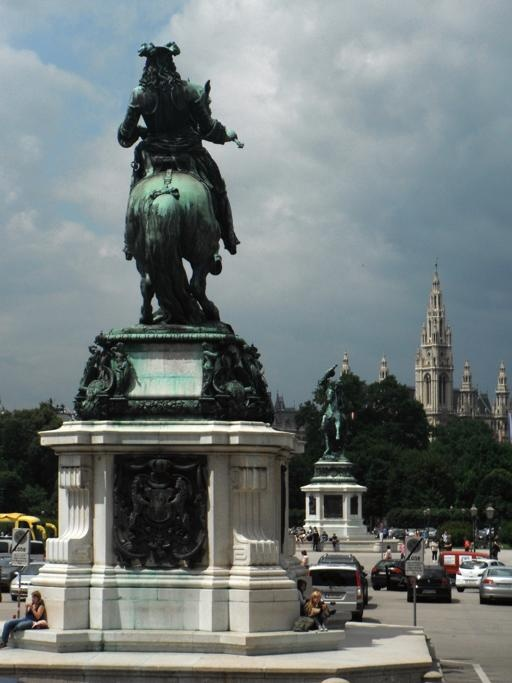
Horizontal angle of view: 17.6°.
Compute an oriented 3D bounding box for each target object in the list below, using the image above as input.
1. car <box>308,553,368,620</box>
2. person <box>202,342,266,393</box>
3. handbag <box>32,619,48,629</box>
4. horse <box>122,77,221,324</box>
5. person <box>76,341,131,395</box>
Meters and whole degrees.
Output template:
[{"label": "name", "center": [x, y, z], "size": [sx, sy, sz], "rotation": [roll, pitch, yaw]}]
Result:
[{"label": "car", "center": [1.831, 5.216, 36.774], "size": [1.172, 1.273, 2.638], "rotation": [0, 6, 2]}, {"label": "person", "center": [-0.435, 0.425, 27.717], "size": [0.182, 0.738, 0.715], "rotation": [-15, -13, 34]}, {"label": "handbag", "center": [-3.423, 4.451, 26.520], "size": [0.157, 0.099, 0.135], "rotation": [-2, -5, 12]}, {"label": "horse", "center": [-1.448, -1.826, 29.368], "size": [1.620, 3.003, 1.278], "rotation": [2, -7, -11]}, {"label": "person", "center": [-2.392, 0.450, 27.346], "size": [0.686, 0.788, 0.639], "rotation": [1, -8, -7]}]
